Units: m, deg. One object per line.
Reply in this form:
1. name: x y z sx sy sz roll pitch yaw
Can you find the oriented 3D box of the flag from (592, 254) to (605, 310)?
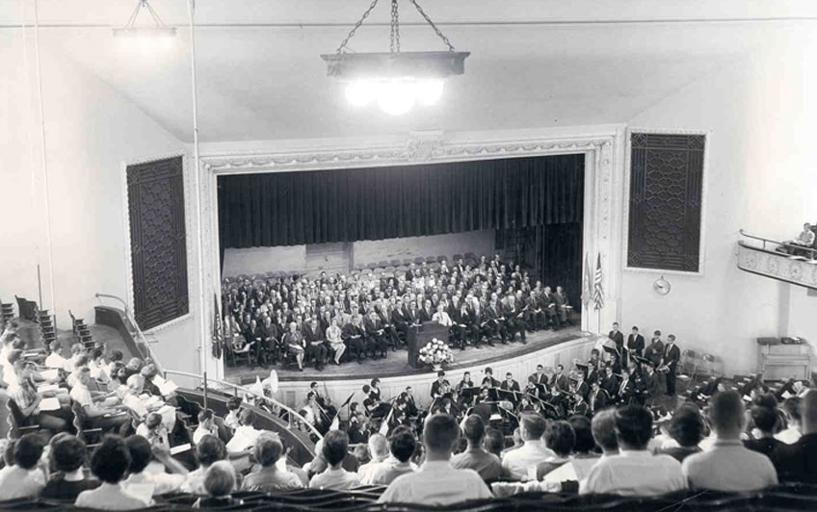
1. flag: 4.731 0.718 24.299 0.232 1.182 0.126 3 3 35
